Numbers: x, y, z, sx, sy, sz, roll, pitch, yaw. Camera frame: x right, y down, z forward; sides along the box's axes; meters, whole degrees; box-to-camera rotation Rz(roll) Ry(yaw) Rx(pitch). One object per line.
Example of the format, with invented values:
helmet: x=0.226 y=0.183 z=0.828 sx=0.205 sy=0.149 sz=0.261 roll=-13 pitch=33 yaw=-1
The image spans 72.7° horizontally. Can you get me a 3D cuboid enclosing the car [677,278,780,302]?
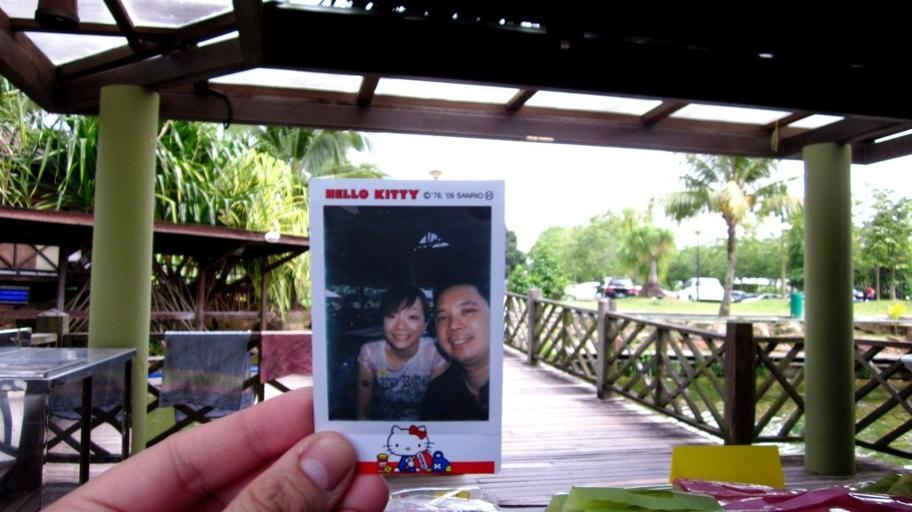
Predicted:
car: x=15.949 y=1.957 z=35.958 sx=3.774 sy=0.905 sz=2.190 roll=0 pitch=-2 yaw=3

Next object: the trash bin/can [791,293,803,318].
trash bin/can: x=11.394 y=1.645 z=20.762 sx=0.348 sy=0.801 sz=1.125 roll=9 pitch=4 yaw=25
